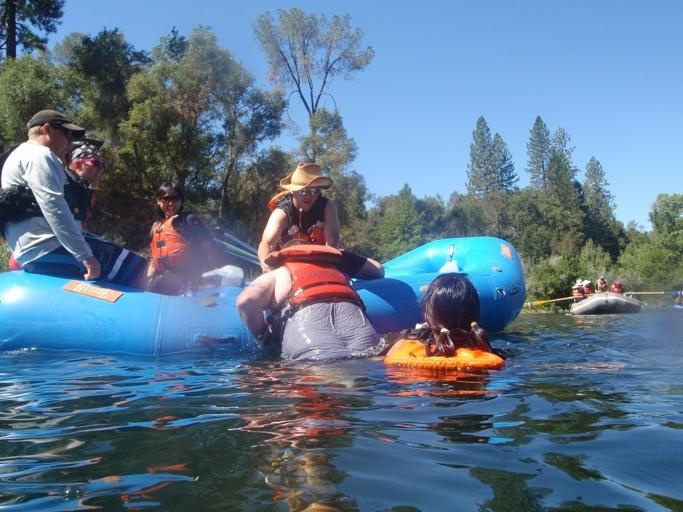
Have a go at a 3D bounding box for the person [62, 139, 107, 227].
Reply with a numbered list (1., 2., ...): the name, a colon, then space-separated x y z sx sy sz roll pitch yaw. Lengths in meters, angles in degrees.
1. person: -2.630 -0.738 5.311 0.231 0.762 0.566 8 4 10

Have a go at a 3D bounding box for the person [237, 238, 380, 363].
1. person: -0.237 0.418 4.518 0.827 0.474 1.097 4 13 -19

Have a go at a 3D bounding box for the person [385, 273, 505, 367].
1. person: 0.763 0.499 4.127 0.562 0.461 0.811 -3 12 7

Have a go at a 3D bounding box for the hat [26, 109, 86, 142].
1. hat: -2.595 -1.212 4.981 0.451 0.259 0.295 -7 10 -31

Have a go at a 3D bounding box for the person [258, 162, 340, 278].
1. person: -0.388 -0.401 5.710 0.952 1.166 1.209 0 4 27

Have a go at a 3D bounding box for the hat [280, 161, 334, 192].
1. hat: -0.382 -0.848 5.873 0.552 0.348 0.602 -1 3 -3

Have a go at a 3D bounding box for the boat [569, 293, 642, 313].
1. boat: 8.055 1.475 16.626 1.842 0.765 1.320 1 3 28

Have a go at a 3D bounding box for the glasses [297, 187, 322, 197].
1. glasses: -0.332 -0.672 5.683 0.269 0.105 0.114 -2 3 -27
